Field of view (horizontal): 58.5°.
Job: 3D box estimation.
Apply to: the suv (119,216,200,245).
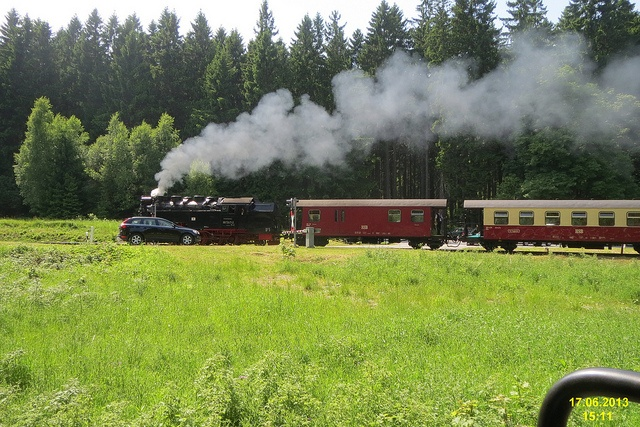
[{"bbox_3d":[-14.164,1.630,50.610,6.090,2.294,2.874,-1,-2,-14],"label":"suv"}]
